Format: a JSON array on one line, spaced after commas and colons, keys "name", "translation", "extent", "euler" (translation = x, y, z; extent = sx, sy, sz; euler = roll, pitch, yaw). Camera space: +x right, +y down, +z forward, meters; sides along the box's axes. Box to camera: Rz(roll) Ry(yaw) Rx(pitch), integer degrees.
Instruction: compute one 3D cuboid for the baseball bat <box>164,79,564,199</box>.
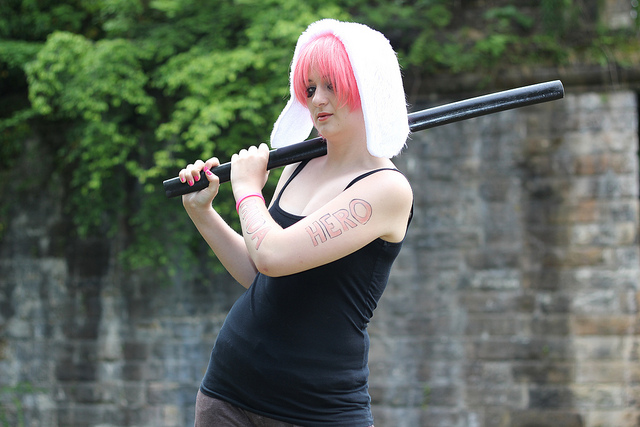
[{"name": "baseball bat", "translation": [0.237, -0.457, 10.518], "extent": [2.390, 0.185, 0.167], "euler": [-17, 14, 5]}]
